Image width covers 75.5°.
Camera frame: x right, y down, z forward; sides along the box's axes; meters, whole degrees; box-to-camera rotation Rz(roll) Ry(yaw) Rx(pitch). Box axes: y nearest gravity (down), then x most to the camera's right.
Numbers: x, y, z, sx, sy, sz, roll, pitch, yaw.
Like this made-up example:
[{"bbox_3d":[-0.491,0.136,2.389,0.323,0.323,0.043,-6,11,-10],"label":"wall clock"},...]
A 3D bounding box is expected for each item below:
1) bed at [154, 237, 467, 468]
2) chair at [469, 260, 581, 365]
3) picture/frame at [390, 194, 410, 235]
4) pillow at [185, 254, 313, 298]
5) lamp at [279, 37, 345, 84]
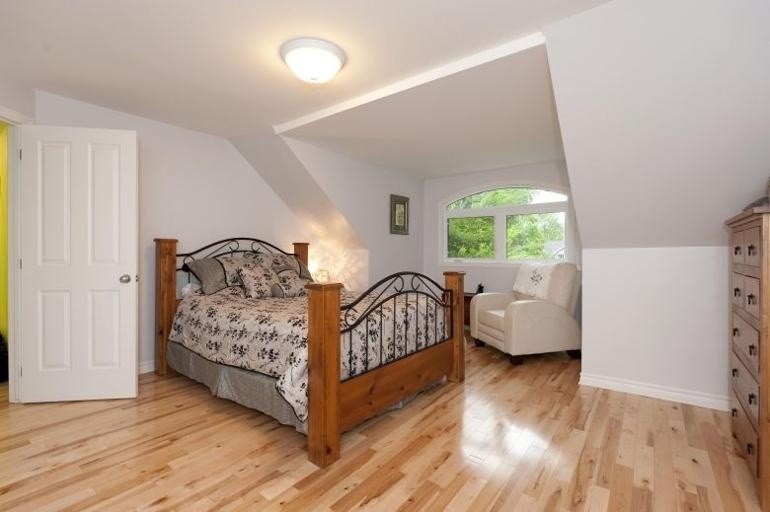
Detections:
[{"bbox_3d":[-0.839,0.745,5.071,2.401,1.535,2.049,2,5,38],"label":"bed"},{"bbox_3d":[1.640,0.678,6.167,1.158,1.273,1.157,2,-5,-17],"label":"chair"},{"bbox_3d":[0.202,-0.605,7.235,0.050,0.653,0.616,-1,-1,32],"label":"picture/frame"},{"bbox_3d":[-1.541,0.174,5.586,0.782,0.212,0.665,1,28,-43],"label":"pillow"},{"bbox_3d":[-0.602,-1.657,4.218,0.568,0.269,0.325,-3,2,-10],"label":"lamp"}]
